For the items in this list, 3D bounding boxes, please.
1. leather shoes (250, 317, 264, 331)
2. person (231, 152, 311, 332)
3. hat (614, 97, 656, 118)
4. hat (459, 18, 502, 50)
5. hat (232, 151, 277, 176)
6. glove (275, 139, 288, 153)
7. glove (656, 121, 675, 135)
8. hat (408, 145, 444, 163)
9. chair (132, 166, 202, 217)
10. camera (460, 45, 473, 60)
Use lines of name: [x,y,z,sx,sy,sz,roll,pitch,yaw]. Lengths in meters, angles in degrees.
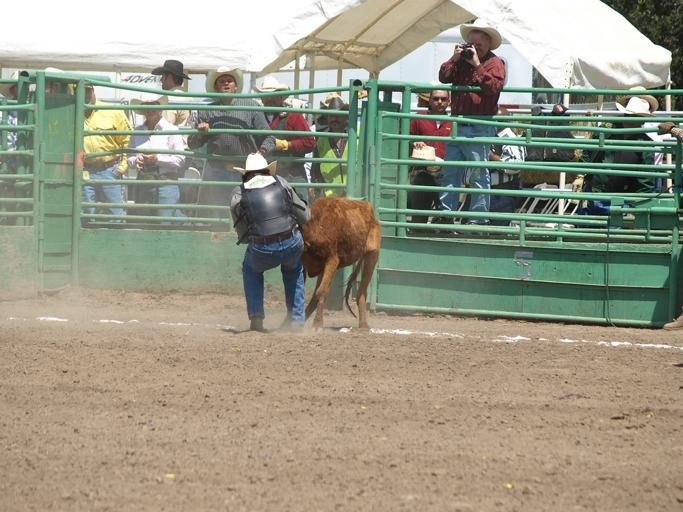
leather shoes: [-0.878,0.714,8.723,0.156,0.136,0.138,0,-5,-12]
person: [-0.716,-0.123,8.615,0.834,1.809,0.474,2,5,-15]
hat: [4.001,-1.928,11.154,0.586,0.172,0.525,4,13,-40]
hat: [1.717,-2.734,10.384,0.474,0.422,0.841,3,4,5]
hat: [-0.853,-0.919,8.746,0.457,0.144,0.398,-7,-5,-1]
glove: [-0.727,-1.358,10.455,0.161,0.144,0.144,2,4,-3]
glove: [3.690,-1.437,9.582,0.173,0.142,0.363,4,4,22]
hat: [1.024,-1.263,10.400,0.309,0.184,0.405,2,4,4]
chair: [-2.323,-0.831,11.183,0.286,0.417,0.909,1,-5,26]
camera: [1.438,-2.349,9.816,0.130,0.182,0.224,1,4,-17]
